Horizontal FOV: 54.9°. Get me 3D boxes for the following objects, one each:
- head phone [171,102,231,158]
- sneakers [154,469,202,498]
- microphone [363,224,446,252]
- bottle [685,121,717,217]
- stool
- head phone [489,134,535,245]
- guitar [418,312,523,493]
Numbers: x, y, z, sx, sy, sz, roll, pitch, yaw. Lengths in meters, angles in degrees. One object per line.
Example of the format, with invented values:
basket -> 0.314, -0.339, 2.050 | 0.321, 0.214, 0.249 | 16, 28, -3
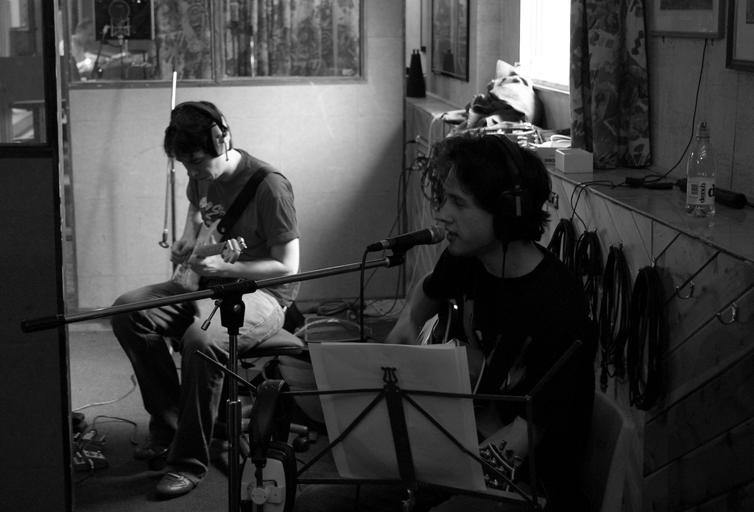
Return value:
head phone -> -0.859, -0.573, 3.512 | 0.229, 0.290, 0.226 | -1, 32, -1
sneakers -> -0.916, 1.035, 3.311 | 0.098, 0.059, 0.164 | 18, 24, 34
microphone -> 0.062, -0.046, 2.228 | 0.259, 0.080, 0.152 | -5, 11, -23
bottle -> 1.224, -0.330, 2.720 | 0.101, 0.324, 0.391 | 4, 11, 23
stool -> -0.516, 0.694, 3.620 | 0.422, 0.598, 0.213 | 11, 8, 26
head phone -> 0.421, -0.198, 2.282 | 0.109, 0.307, 0.324 | -6, 3, -1
guitar -> 0.294, 0.449, 2.238 | 0.336, 0.513, 0.619 | 0, 10, 3
